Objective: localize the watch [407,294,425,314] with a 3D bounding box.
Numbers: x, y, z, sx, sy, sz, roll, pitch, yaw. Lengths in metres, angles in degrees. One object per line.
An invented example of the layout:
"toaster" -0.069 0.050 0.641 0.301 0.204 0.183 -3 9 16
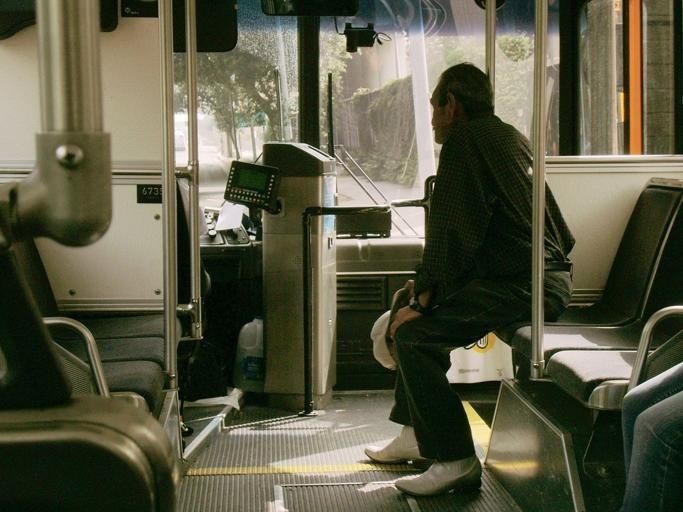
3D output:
"watch" 0.285 0.185 2.711 0.041 0.054 0.069 0 18 -39

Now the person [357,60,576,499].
"person" 0.485 0.060 2.806 0.831 1.684 0.533 0 6 18

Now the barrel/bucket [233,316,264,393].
"barrel/bucket" -0.506 0.550 3.809 0.172 0.395 0.130 -3 6 -12

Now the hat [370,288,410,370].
"hat" 0.194 0.295 2.961 0.108 0.315 0.228 11 -18 -4

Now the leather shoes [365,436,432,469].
"leather shoes" 0.236 0.843 3.031 0.297 0.149 0.118 4 -1 19
